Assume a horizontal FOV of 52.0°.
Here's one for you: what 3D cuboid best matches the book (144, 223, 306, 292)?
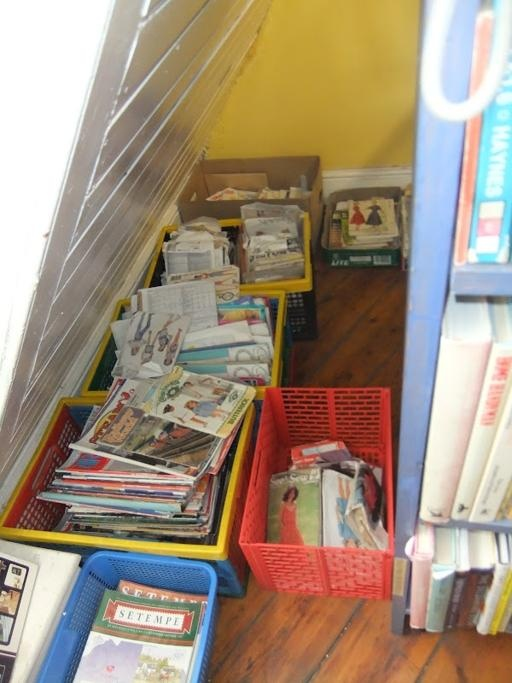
[{"bbox_3d":[-0.083,-0.258,1.814,0.482,0.302,0.155,-2,-24,5],"label":"book"}]

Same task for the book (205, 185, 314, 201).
[{"bbox_3d":[0.028,-0.694,2.445,0.451,0.064,0.276,3,13,10],"label":"book"}]

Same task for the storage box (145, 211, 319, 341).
[{"bbox_3d":[0.030,-0.218,1.902,0.533,0.527,0.321,1,-16,3],"label":"storage box"}]

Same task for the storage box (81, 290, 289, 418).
[{"bbox_3d":[-0.096,-0.006,1.618,0.419,0.418,0.251,13,-27,10],"label":"storage box"}]

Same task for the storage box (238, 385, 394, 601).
[{"bbox_3d":[0.175,0.351,1.428,0.431,0.355,0.562,1,50,11],"label":"storage box"}]

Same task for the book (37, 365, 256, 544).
[{"bbox_3d":[-0.250,0.283,1.301,0.461,0.448,0.136,8,-23,20],"label":"book"}]

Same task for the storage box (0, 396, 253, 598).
[{"bbox_3d":[-0.343,0.368,1.524,0.555,0.333,0.552,9,55,6],"label":"storage box"}]

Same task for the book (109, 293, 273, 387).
[{"bbox_3d":[-0.175,-0.020,1.503,0.378,0.272,0.113,-2,-21,2],"label":"book"}]

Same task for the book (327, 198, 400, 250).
[{"bbox_3d":[0.506,-0.545,2.478,0.296,0.294,0.071,-3,-35,5],"label":"book"}]

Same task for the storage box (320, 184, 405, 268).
[{"bbox_3d":[0.513,-0.544,2.500,0.374,0.140,0.463,-4,48,7],"label":"storage box"}]
